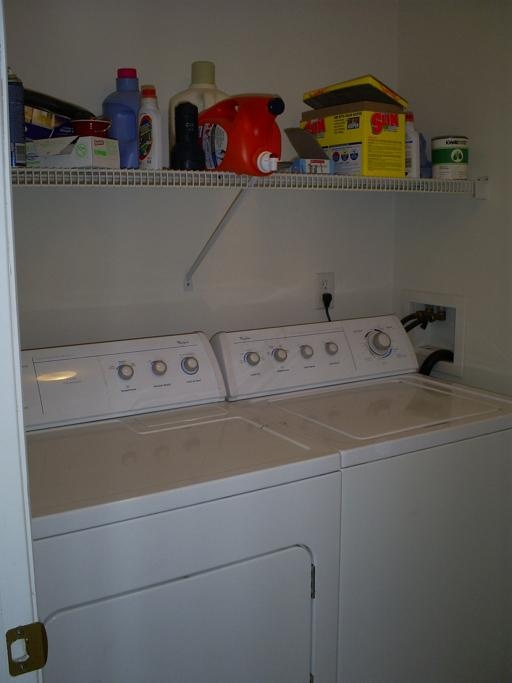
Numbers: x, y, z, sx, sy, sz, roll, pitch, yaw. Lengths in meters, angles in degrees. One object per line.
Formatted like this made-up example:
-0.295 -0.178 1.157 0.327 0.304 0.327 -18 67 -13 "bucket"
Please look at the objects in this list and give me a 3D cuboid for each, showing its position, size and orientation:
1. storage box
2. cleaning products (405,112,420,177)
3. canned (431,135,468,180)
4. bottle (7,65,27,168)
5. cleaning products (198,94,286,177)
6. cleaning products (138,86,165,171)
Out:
0.300 -0.649 1.671 0.178 0.289 0.297 -9 16 -36 "storage box"
0.494 -0.614 1.685 0.069 0.221 0.053 7 20 33 "cleaning products"
0.608 -0.574 1.699 0.121 0.164 0.134 1 5 12 "canned"
-0.520 -0.476 1.139 0.033 0.201 0.148 -4 9 -23 "bottle"
-0.035 -0.534 1.348 0.143 0.159 0.236 -23 34 -38 "cleaning products"
-0.268 -0.539 1.319 0.061 0.230 0.162 -2 9 -12 "cleaning products"
